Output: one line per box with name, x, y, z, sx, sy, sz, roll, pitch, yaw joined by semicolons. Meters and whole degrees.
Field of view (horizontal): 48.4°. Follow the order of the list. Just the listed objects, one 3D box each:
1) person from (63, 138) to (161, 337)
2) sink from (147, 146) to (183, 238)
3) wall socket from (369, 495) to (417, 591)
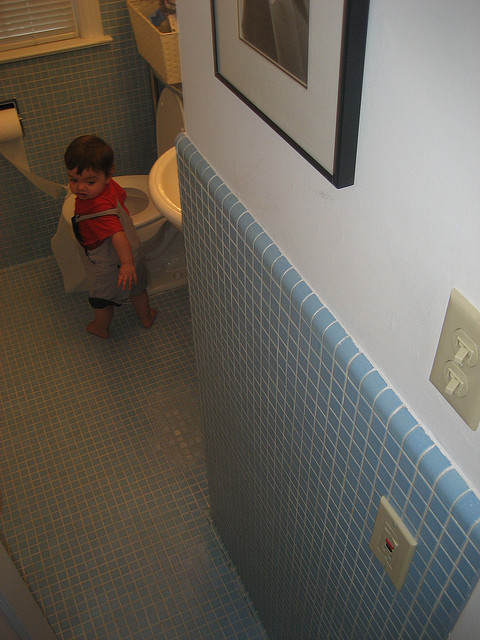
person;-0.549;-0.343;2.262;0.259;0.860;0.587;-12;40;-22
sink;-0.275;-0.448;1.950;0.111;0.182;0.525;-8;49;-5
wall socket;0.187;0.264;0.667;0.038;0.095;0.087;-13;41;-18
